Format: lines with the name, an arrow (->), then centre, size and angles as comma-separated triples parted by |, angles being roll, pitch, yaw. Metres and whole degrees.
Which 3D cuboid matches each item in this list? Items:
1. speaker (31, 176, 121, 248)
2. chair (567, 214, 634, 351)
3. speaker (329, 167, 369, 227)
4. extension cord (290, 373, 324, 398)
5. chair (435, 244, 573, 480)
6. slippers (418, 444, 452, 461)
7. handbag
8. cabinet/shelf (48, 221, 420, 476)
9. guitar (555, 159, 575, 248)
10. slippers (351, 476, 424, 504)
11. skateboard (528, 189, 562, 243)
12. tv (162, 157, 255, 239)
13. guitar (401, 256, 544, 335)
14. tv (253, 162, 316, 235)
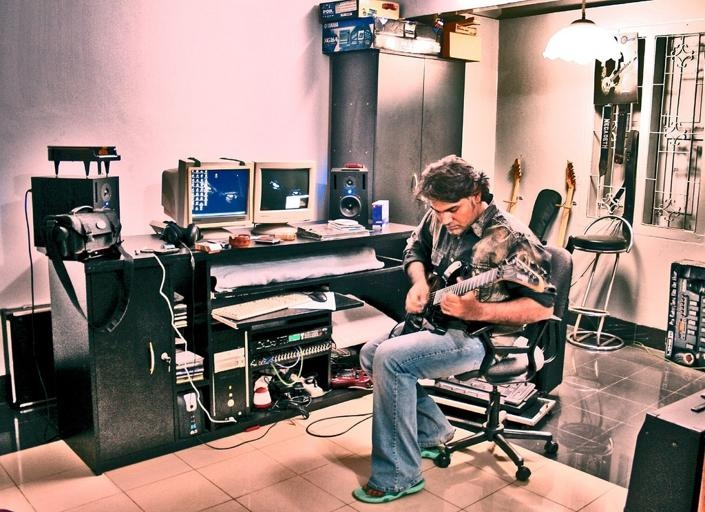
speaker -> -1.587, -0.253, 3.299 | 0.406, 0.359, 0.220 | 5, 11, 25
chair -> 2.189, 0.218, 5.140 | 0.546, 1.121, 0.778 | 1, 12, 26
speaker -> 0.001, -0.469, 4.450 | 0.367, 0.436, 0.343 | -6, 14, -20
extension cord -> -0.304, 0.889, 3.966 | 0.224, 0.079, 0.135 | 31, 20, 34
chair -> 0.831, 0.575, 3.489 | 0.851, 1.256, 0.862 | 1, 5, -27
slippers -> 0.477, 1.150, 3.388 | 0.230, 0.096, 0.085 | -4, 13, 18
handbag -> -1.438, 0.077, 3.197 | 0.407, 0.696, 0.282 | -9, 12, -28
cabinet/shelf -> -0.865, 0.572, 4.115 | 0.692, 1.175, 2.269 | 2, 3, 43
guitar -> 2.067, -0.519, 5.619 | 0.156, 0.812, 0.138 | -2, 11, -35
slippers -> 0.192, 1.254, 3.066 | 0.280, 0.031, 0.131 | -3, 8, -19
skateboard -> 1.854, -0.380, 5.513 | 0.151, 0.584, 0.104 | 21, 26, 31
tv -> -1.016, -0.422, 3.961 | 0.474, 0.478, 0.558 | -7, 19, -38
guitar -> 0.607, 0.220, 3.121 | 0.844, 0.435, 0.392 | 4, 13, 35
tv -> -0.480, -0.414, 3.989 | 0.466, 0.443, 0.267 | -6, 15, -36
